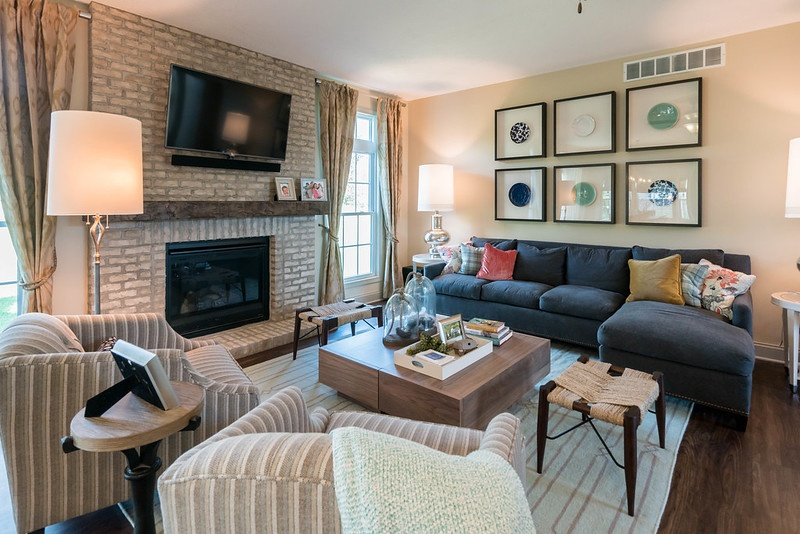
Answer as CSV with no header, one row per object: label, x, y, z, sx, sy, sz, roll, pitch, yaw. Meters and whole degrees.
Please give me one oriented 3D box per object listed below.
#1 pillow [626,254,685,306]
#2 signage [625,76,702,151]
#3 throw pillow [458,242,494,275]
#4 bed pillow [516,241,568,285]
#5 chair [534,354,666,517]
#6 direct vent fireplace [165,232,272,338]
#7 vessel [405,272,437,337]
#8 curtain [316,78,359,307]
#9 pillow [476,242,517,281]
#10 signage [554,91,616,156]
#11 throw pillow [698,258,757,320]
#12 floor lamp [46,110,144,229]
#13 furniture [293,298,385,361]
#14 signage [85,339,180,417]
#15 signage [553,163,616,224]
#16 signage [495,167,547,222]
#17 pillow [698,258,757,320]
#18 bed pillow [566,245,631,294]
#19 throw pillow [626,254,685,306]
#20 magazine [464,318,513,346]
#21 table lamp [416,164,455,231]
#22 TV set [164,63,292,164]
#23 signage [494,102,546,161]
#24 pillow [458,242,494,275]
pillow,2.467,0.135,5.134,0.160,0.408,0.434,21,-19,-36
signage,2.749,-1.583,5.525,0.850,0.785,0.060,2,3,38
throw pillow,0.897,-0.087,6.296,0.387,0.365,0.137,2,-4,6
bed pillow,1.587,-0.021,5.993,0.427,0.344,0.161,7,-26,35
chair,1.488,1.080,3.885,0.808,0.763,0.946,5,11,40
direct vent fireplace,-1.897,0.181,5.470,0.387,0.958,1.107,0,1,38
vessel,0.135,0.329,4.638,0.323,0.546,0.312,-4,-3,-2
curtain,-0.788,-0.890,6.491,0.388,2.612,0.606,2,11,7
pillow,1.121,-0.031,6.134,0.386,0.382,0.153,10,-13,11
signage,2.054,-1.584,5.980,0.698,0.661,0.105,10,14,41
throw pillow,2.872,0.206,4.840,0.437,0.437,0.520,11,14,42
floor lamp,-2.179,-0.702,4.003,0.682,0.747,0.677,-5,-3,9
furniture,-0.604,0.645,5.387,0.459,0.506,0.803,13,16,41
signage,-1.562,0.667,3.068,0.439,0.360,0.444,7,16,26
signage,2.105,-0.836,6.033,0.717,0.737,0.069,2,4,42
signage,1.449,-0.867,6.515,0.694,0.641,0.072,6,12,42
pillow,2.941,0.166,4.958,0.159,0.645,0.649,28,-30,-24
bed pillow,2.098,0.044,5.625,0.469,0.332,0.165,4,-24,40
throw pillow,2.467,0.135,5.134,0.160,0.408,0.434,21,-19,-36
magazine,0.705,0.525,4.459,0.246,0.088,0.250,5,8,40
table lamp,0.450,-0.989,6.686,0.428,0.551,0.269,1,10,-2
TV set,-1.757,-1.518,5.313,1.248,0.724,0.117,1,10,-45
signage,1.448,-1.608,6.466,0.646,0.614,0.072,6,11,40
pillow,0.897,-0.087,6.296,0.387,0.365,0.137,2,-4,6
